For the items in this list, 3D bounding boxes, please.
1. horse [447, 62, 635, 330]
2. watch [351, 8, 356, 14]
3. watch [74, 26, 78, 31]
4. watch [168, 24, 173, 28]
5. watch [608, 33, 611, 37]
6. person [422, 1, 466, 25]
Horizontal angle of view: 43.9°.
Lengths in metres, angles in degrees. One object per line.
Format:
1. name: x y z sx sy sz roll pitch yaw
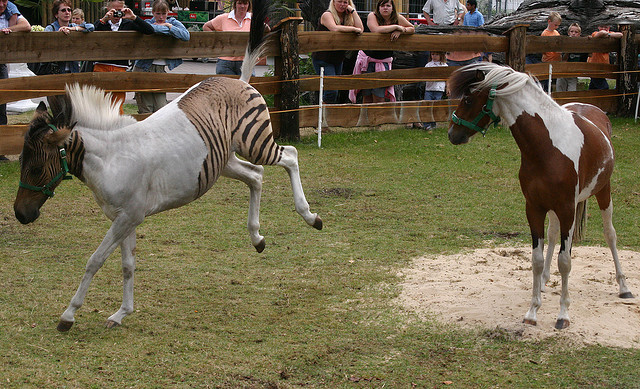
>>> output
1. horse: 2.807 -0.017 9.905 2.289 3.204 1.119 -3 13 -11
2. watch: 0.674 -3.794 16.341 0.025 0.102 0.108 43 30 13
3. watch: -4.216 -2.870 13.700 0.022 0.082 0.089 -26 28 -17
4. watch: -2.725 -3.077 14.436 0.054 0.013 0.056 -13 46 37
5. watch: 6.940 -3.836 19.041 0.115 0.099 0.027 3 1 11
6. person: 3.086 -4.578 19.927 1.001 0.579 1.214 2 13 13
